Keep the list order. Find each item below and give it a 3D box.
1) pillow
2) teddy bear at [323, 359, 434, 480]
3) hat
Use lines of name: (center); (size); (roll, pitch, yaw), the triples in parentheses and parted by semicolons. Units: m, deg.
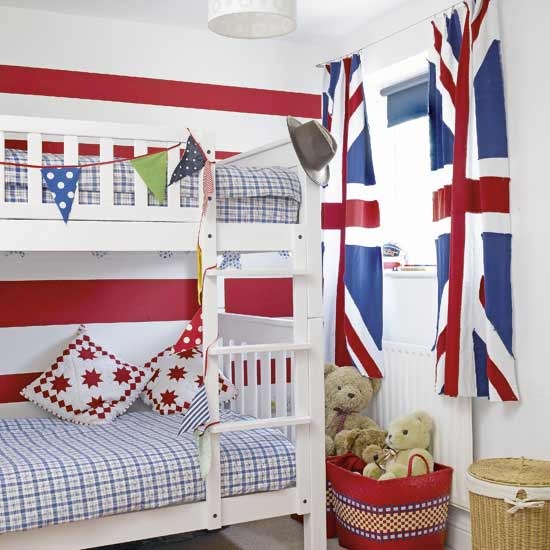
pillow: (-0.736, 0.495, 2.971); (0.642, 0.342, 0.607); (2, 33, -39)
teddy bear: (0.430, 0.654, 2.852); (0.313, 0.575, 0.414); (0, -21, -11)
hat: (0.138, -0.457, 2.395); (0.079, 0.264, 0.183); (-13, 8, 22)
